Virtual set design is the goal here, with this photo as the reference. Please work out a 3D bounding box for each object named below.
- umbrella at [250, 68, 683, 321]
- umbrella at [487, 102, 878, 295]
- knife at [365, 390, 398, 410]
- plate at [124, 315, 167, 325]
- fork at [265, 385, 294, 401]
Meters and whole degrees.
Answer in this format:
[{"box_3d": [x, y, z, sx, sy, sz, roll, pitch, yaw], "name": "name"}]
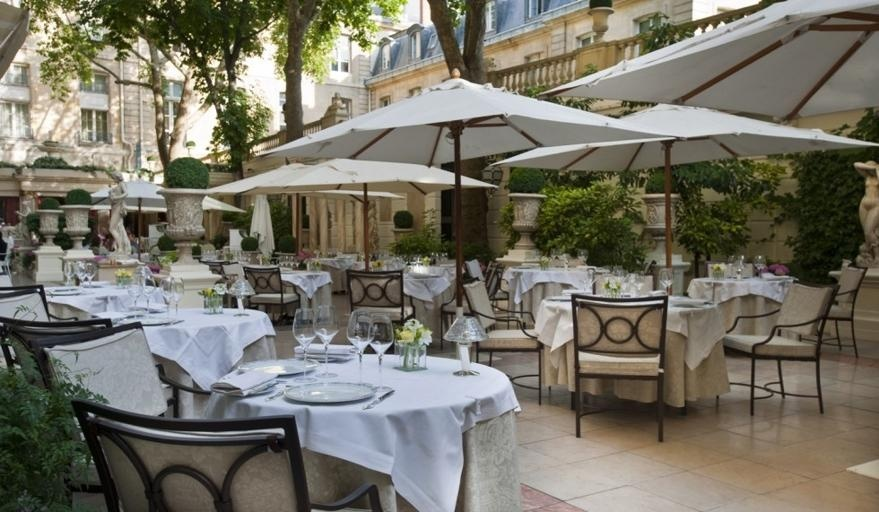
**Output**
[{"box_3d": [0.206, -0.807, 8.797, 3.700, 2.683, 1.874, 1, 2, 13], "name": "umbrella"}, {"box_3d": [3.390, -0.272, 10.903, 3.546, 2.176, 3.544, 4, -6, -21], "name": "umbrella"}, {"box_3d": [-0.531, 1.272, 6.915, 0.088, 0.022, 0.506, 18, 17, 24], "name": "knife"}, {"box_3d": [-3.360, 0.728, 8.709, 0.458, 0.085, 0.414, 1, 1, 43], "name": "plate"}, {"box_3d": [-1.483, 1.235, 6.993, 0.083, 0.026, 0.316, 22, 14, 7], "name": "fork"}]
